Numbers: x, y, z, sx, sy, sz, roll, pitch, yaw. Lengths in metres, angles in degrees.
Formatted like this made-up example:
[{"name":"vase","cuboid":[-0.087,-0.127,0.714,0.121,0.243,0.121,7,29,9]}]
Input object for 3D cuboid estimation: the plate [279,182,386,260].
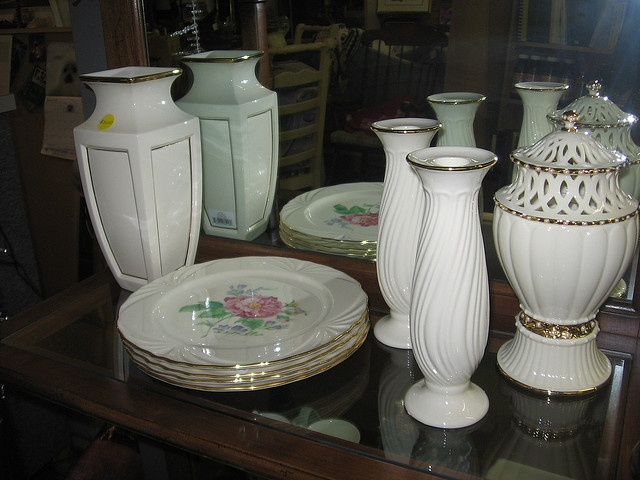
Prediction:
[{"name":"plate","cuboid":[0.009,-0.040,0.840,0.132,0.031,0.125,-9,28,-20]}]
